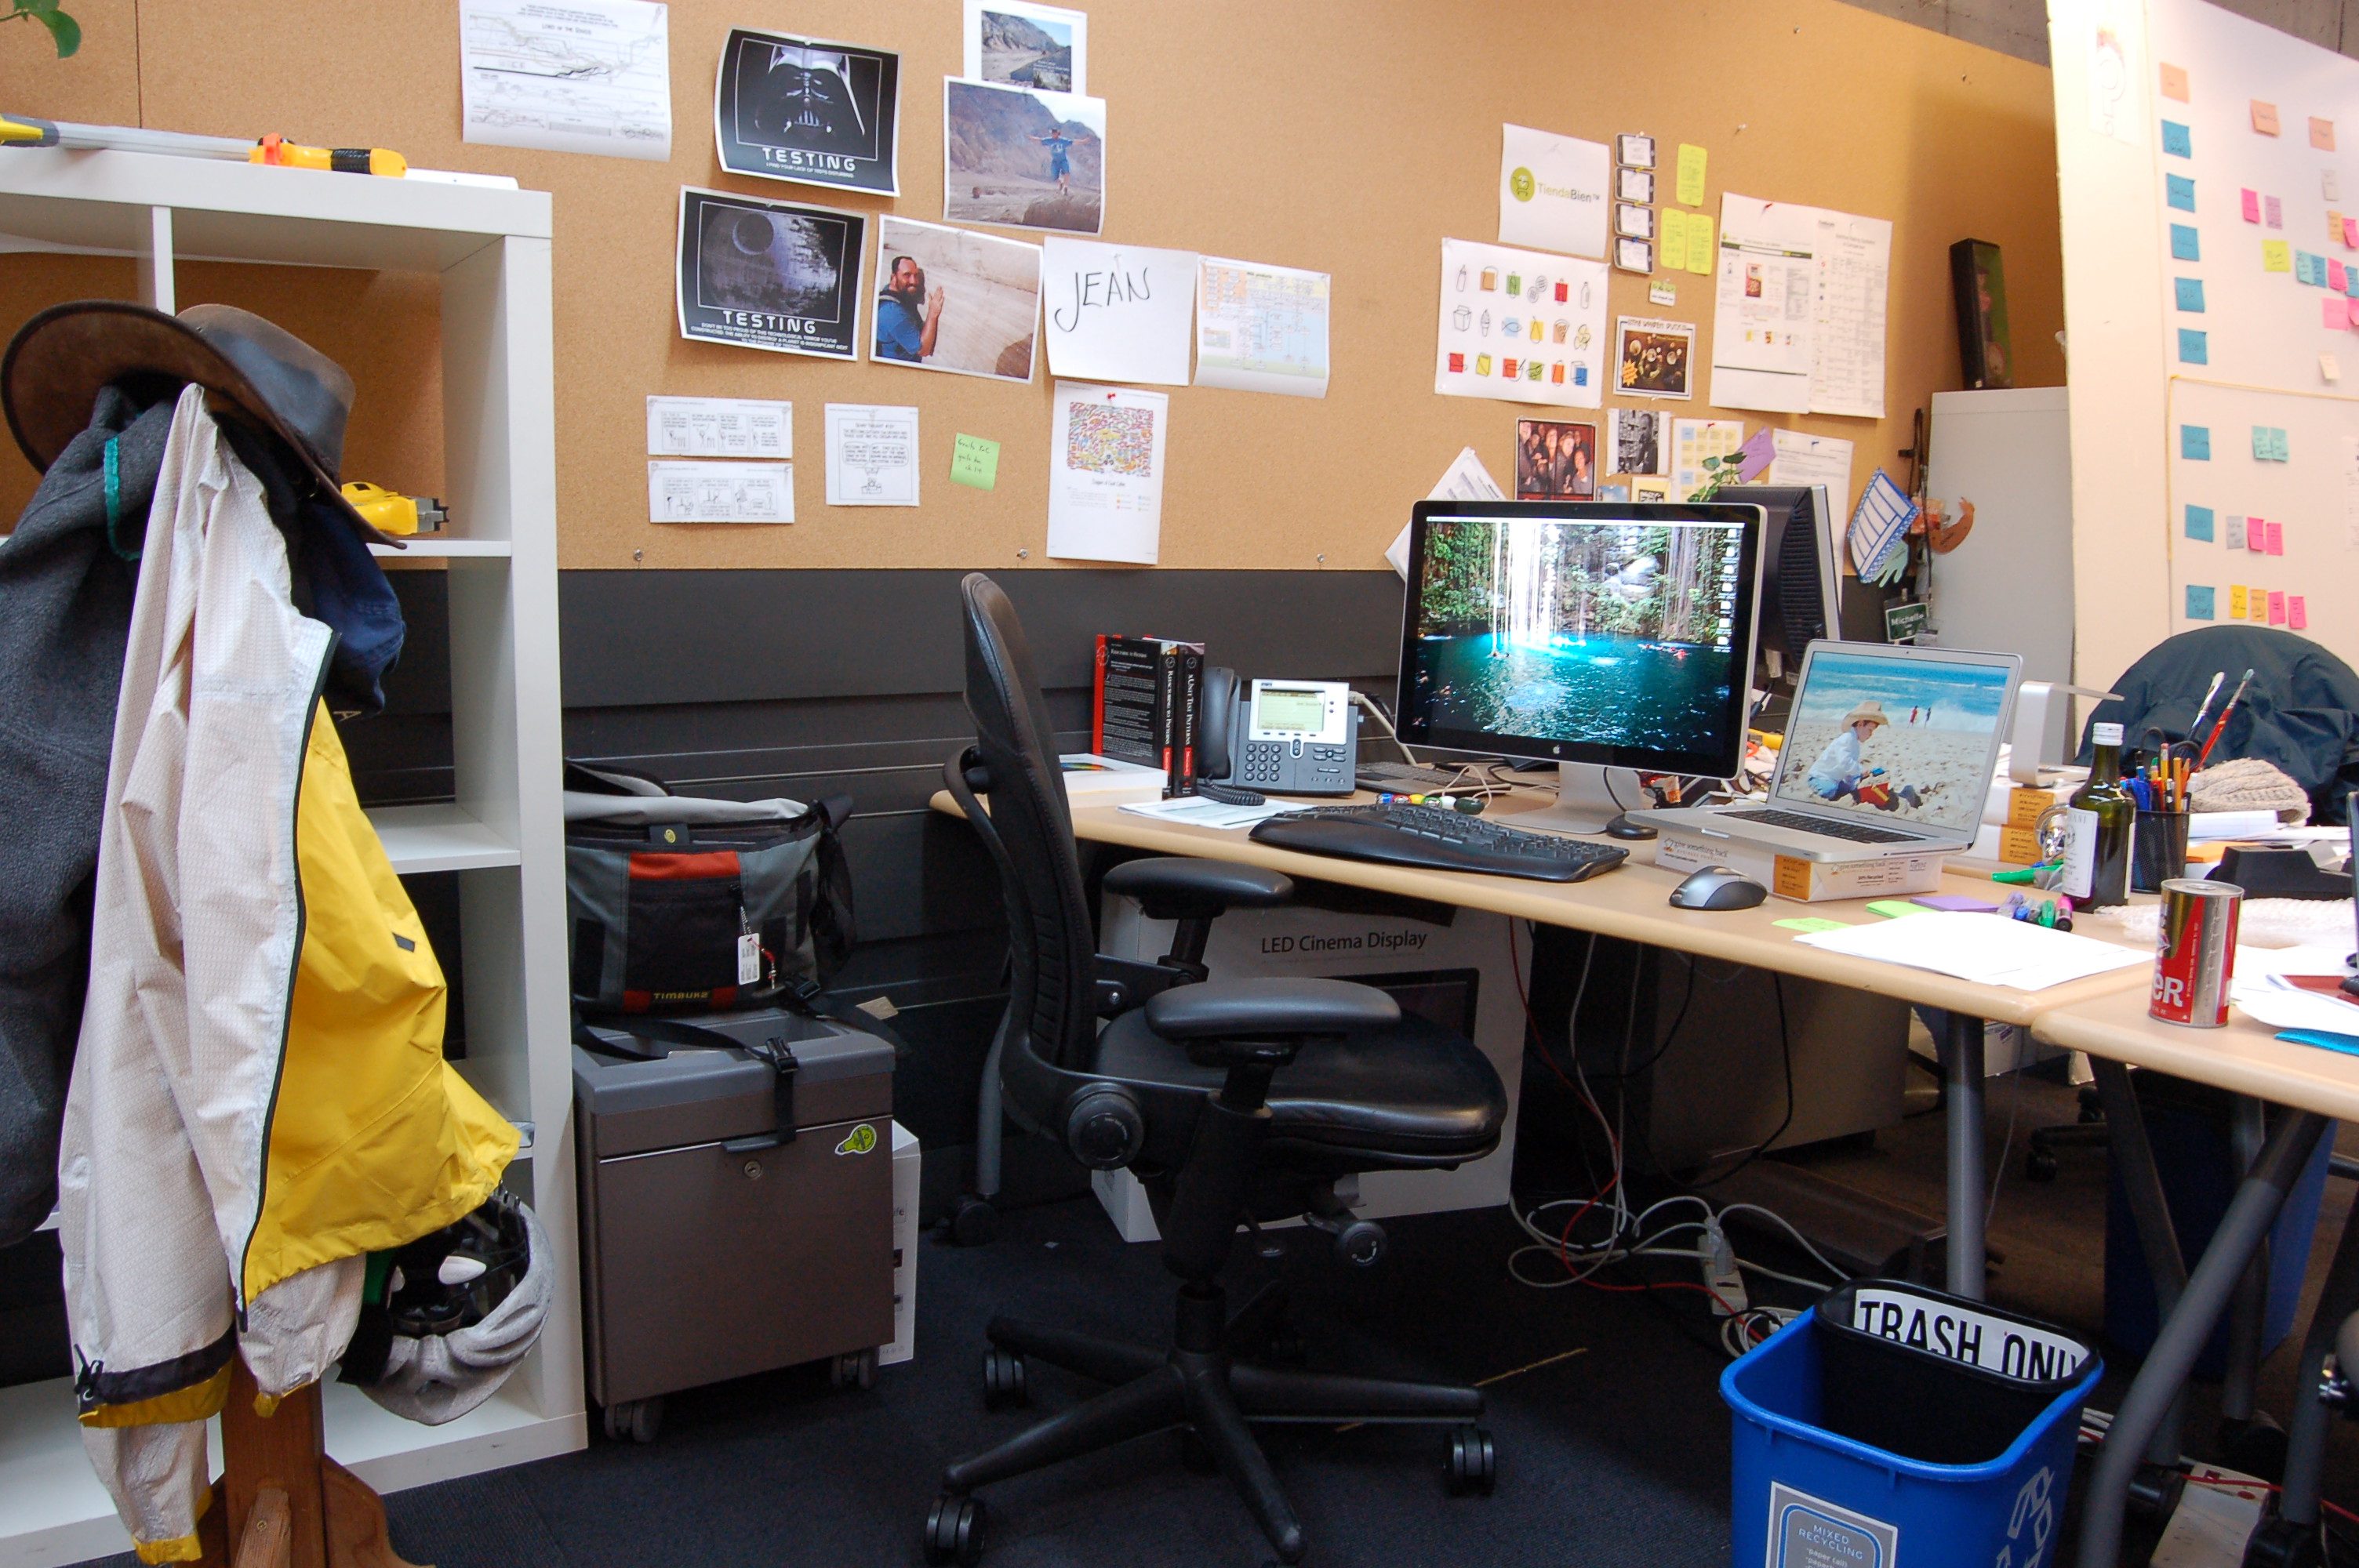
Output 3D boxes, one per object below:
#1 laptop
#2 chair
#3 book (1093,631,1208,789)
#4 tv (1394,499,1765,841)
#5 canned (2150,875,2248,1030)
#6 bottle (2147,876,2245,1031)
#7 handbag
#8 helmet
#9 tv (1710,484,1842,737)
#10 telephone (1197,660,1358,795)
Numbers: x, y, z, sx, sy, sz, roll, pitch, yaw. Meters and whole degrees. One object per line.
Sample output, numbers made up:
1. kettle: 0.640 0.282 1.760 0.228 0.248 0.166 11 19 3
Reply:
1. laptop: 1.070 -0.118 2.753 0.426 0.294 0.426 -5 10 -33
2. chair: 0.019 0.284 3.315 1.348 1.908 1.384 -1 8 -5
3. book: -0.059 -0.140 3.373 0.110 0.304 0.294 -4 7 -36
4. tv: 0.703 -0.210 2.993 0.608 0.508 0.195 7 6 37
5. canned: 1.329 0.213 2.234 0.093 0.179 0.166 4 9 30
6. bottle: 1.329 0.213 2.234 0.091 0.179 0.167 4 9 31
7. handbag: -0.817 0.214 3.106 0.635 0.379 0.532 -1 2 -10
8. helmet: -1.037 0.744 2.383 0.240 0.175 0.298 3 8 -17
9. tv: 1.060 -0.313 3.047 0.156 0.424 0.426 -11 15 -12
10. telephone: 0.179 -0.103 3.270 0.264 0.236 0.103 2 -3 10
